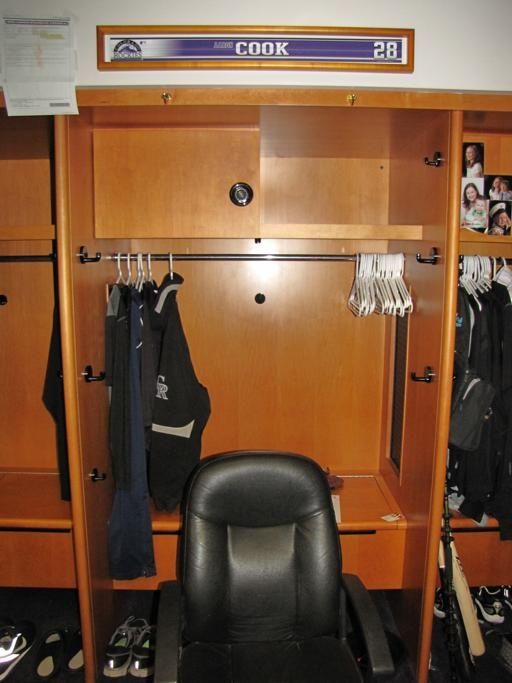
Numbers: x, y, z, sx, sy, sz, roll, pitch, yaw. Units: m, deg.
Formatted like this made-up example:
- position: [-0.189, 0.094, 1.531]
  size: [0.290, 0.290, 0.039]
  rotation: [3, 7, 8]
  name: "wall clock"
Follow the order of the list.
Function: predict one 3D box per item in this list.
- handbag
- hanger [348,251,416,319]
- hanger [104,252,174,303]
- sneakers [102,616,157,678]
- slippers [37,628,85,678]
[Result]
- position: [0.785, 0.252, 2.205]
  size: [0.153, 0.276, 0.071]
  rotation: [0, 10, 8]
  name: "handbag"
- position: [0.491, -0.222, 2.386]
  size: [0.251, 0.243, 0.300]
  rotation: [1, 11, 12]
  name: "hanger"
- position: [-0.465, -0.249, 2.369]
  size: [0.223, 0.156, 0.020]
  rotation: [-3, 12, -18]
  name: "hanger"
- position: [-0.492, 1.200, 2.352]
  size: [0.184, 0.080, 0.236]
  rotation: [-3, 11, -8]
  name: "sneakers"
- position: [-0.767, 1.216, 2.362]
  size: [0.169, 0.044, 0.229]
  rotation: [-5, 11, -18]
  name: "slippers"
